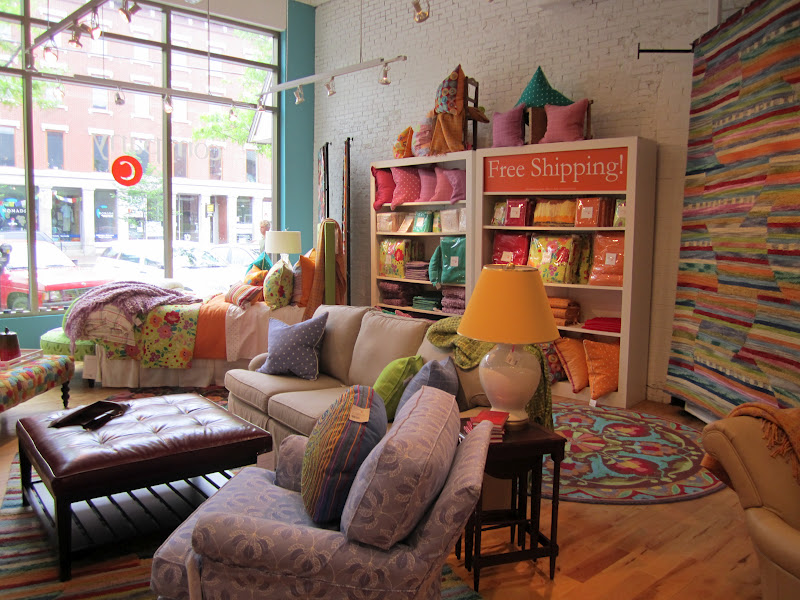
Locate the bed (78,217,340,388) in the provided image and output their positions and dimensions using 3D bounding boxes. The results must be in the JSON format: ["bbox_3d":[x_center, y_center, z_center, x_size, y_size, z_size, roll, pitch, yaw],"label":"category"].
[{"bbox_3d":[-2.111,0.086,6.837,2.321,1.322,1.517,-2,5,-29],"label":"bed"}]

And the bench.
[{"bbox_3d":[-1.682,0.886,3.644,1.088,0.534,1.125,11,11,43],"label":"bench"}]

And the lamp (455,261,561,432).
[{"bbox_3d":[0.582,0.246,3.203,0.467,0.860,0.395,-8,15,-30],"label":"lamp"}]

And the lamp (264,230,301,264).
[{"bbox_3d":[-1.532,-0.699,7.877,0.424,0.449,0.434,-1,-1,33],"label":"lamp"}]

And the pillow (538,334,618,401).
[{"bbox_3d":[1.860,0.624,5.921,0.759,0.713,0.222,-13,-24,11],"label":"pillow"}]

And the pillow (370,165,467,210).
[{"bbox_3d":[0.240,-1.405,7.297,1.431,0.500,0.411,-3,-1,26],"label":"pillow"}]

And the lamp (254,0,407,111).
[{"bbox_3d":[-0.917,-2.966,7.978,1.770,0.813,2.626,0,12,0],"label":"lamp"}]
